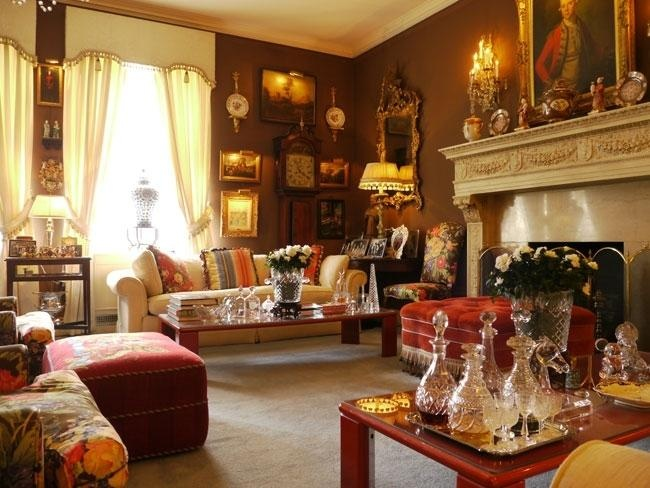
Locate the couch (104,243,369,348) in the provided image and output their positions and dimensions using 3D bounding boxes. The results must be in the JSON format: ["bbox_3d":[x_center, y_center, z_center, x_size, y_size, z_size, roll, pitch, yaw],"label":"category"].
[{"bbox_3d":[-0.956,0.570,5.583,2.671,1.016,0.979,0,-1,-27],"label":"couch"}]

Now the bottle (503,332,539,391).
[{"bbox_3d":[0.765,0.448,1.985,0.113,0.213,0.340,1,4,22],"label":"bottle"}]

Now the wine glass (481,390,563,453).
[{"bbox_3d":[0.712,0.647,1.849,0.223,0.086,0.256,1,-7,-33],"label":"wine glass"}]

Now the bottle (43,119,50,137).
[{"bbox_3d":[-3.227,-1.336,5.895,0.071,0.219,0.092,-3,4,-28],"label":"bottle"}]

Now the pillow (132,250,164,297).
[{"bbox_3d":[-1.728,0.284,4.970,0.269,0.444,0.200,-2,4,-23],"label":"pillow"}]

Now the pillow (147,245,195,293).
[{"bbox_3d":[-1.558,0.249,5.157,0.140,0.446,0.469,-22,0,16],"label":"pillow"}]

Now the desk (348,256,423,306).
[{"bbox_3d":[0.951,0.518,6.514,0.491,0.622,0.876,30,-15,-31],"label":"desk"}]

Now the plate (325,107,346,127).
[{"bbox_3d":[0.167,-1.877,7.592,0.358,0.329,0.070,-3,4,-32],"label":"plate"}]

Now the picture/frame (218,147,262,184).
[{"bbox_3d":[-1.180,-1.064,6.899,0.519,0.414,0.055,-1,4,-26],"label":"picture/frame"}]

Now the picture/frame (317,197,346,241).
[{"bbox_3d":[0.077,-0.381,7.543,0.649,0.842,0.091,0,1,-34],"label":"picture/frame"}]

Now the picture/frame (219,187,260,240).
[{"bbox_3d":[-1.183,-0.419,6.878,0.713,0.874,0.071,1,-1,-32],"label":"picture/frame"}]

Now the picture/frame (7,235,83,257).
[{"bbox_3d":[-3.004,0.030,5.506,0.626,0.230,0.507,-1,3,3],"label":"picture/frame"}]

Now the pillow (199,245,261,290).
[{"bbox_3d":[-1.047,0.277,5.640,0.538,0.511,0.160,-2,-24,-23],"label":"pillow"}]

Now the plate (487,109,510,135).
[{"bbox_3d":[1.801,-1.263,5.269,0.057,0.277,0.273,-10,1,-39],"label":"plate"}]

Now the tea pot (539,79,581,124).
[{"bbox_3d":[2.184,-1.328,4.728,0.345,0.400,0.360,0,6,0],"label":"tea pot"}]

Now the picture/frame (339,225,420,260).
[{"bbox_3d":[0.740,-0.041,6.502,1.181,0.398,0.394,-4,-9,37],"label":"picture/frame"}]

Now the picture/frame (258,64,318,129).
[{"bbox_3d":[-0.563,-2.086,7.192,1.039,0.870,0.110,0,6,-29],"label":"picture/frame"}]

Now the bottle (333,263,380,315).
[{"bbox_3d":[0.293,0.430,4.811,0.428,0.420,0.425,-5,-6,30],"label":"bottle"}]

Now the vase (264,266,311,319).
[{"bbox_3d":[-0.334,0.375,4.550,0.278,0.432,0.289,0,9,13],"label":"vase"}]

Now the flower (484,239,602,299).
[{"bbox_3d":[1.106,0.145,2.782,0.492,0.311,0.530,-4,-5,-15],"label":"flower"}]

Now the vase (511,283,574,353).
[{"bbox_3d":[1.081,0.383,2.763,0.334,0.383,0.334,-1,-2,-12],"label":"vase"}]

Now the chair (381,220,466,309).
[{"bbox_3d":[1.118,0.389,5.797,0.843,1.258,0.792,-2,3,-44],"label":"chair"}]

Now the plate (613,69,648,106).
[{"bbox_3d":[2.508,-1.281,4.195,0.109,0.284,0.250,-2,4,-18],"label":"plate"}]

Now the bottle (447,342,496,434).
[{"bbox_3d":[0.541,0.536,1.903,0.159,0.318,0.193,0,4,11],"label":"bottle"}]

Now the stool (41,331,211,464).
[{"bbox_3d":[-1.236,0.839,3.061,0.794,0.551,1.052,2,0,-40],"label":"stool"}]

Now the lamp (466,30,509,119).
[{"bbox_3d":[1.694,-1.858,5.515,0.312,0.877,0.413,-3,4,-30],"label":"lamp"}]

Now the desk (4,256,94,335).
[{"bbox_3d":[-2.813,0.508,5.160,0.890,0.991,0.399,1,-3,-36],"label":"desk"}]
